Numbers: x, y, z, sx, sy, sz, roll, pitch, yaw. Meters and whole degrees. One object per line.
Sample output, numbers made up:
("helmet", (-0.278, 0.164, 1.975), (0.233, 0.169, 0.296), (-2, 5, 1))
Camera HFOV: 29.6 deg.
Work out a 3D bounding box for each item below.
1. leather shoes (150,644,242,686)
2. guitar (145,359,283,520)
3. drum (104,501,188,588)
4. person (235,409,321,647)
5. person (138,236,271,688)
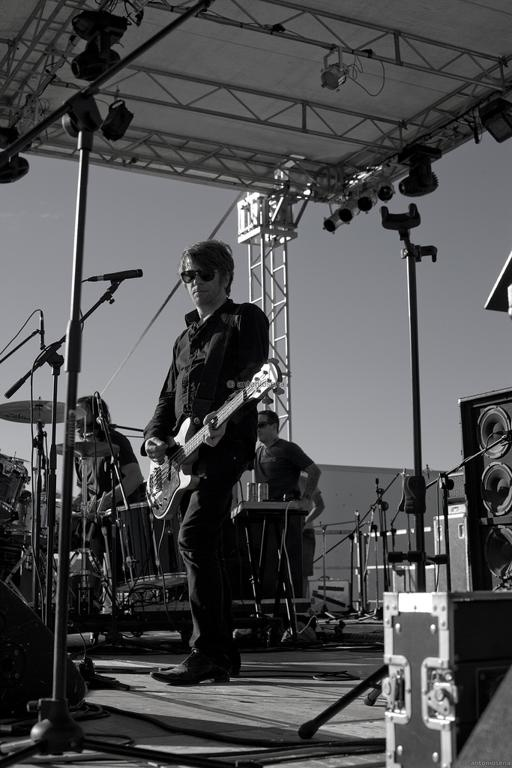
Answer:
("leather shoes", (-0.203, 1.003, 3.502), (0.358, 0.138, 0.184), (0, -3, -5))
("guitar", (-0.172, 0.233, 3.764), (0.480, 0.690, 0.439), (3, -2, 26))
("drum", (-0.672, 1.000, 6.013), (0.531, 0.608, 0.598), (-5, -4, 11))
("person", (0.203, 0.839, 6.921), (0.452, 1.200, 0.447), (0, -7, 5))
("person", (-0.163, 0.251, 3.774), (0.502, 1.693, 0.579), (3, -1, -3))
